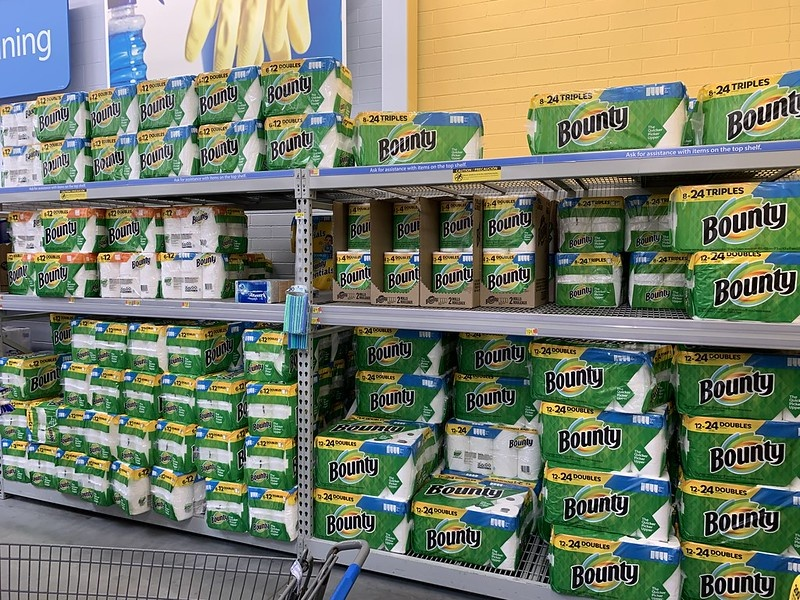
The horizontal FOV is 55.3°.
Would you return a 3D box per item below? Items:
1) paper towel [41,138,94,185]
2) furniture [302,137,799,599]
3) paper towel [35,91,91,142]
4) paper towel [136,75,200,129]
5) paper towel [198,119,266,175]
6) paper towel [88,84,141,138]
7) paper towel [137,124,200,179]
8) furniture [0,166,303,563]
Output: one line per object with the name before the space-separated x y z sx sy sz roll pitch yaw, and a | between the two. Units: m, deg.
paper towel | -1.757 -0.746 4.180 0.389 0.217 0.386 -5 6 -36
furniture | 0.689 0.312 3.441 2.030 1.914 0.693 -1 9 12
paper towel | -1.781 -0.988 4.112 0.324 0.213 0.175 1 8 21
paper towel | -1.245 -1.007 3.855 0.358 0.239 0.193 -17 32 -42
paper towel | -0.809 -0.738 3.788 0.381 0.239 0.216 2 4 28
paper towel | -1.479 -0.973 3.949 0.280 0.202 0.267 -7 9 -26
paper towel | -1.147 -0.741 3.911 0.369 0.243 0.213 2 3 33
furniture | -1.262 0.357 3.874 2.121 1.697 0.664 1 3 21
